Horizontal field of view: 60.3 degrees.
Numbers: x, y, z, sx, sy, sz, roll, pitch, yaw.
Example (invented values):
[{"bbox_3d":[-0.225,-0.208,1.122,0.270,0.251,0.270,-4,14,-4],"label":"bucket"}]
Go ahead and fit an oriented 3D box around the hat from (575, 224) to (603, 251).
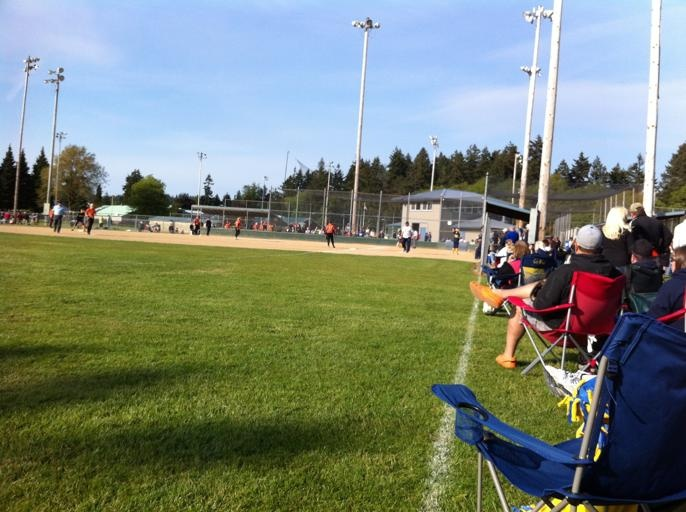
[{"bbox_3d":[2.350,-0.168,5.659,0.180,0.152,0.292,6,46,16],"label":"hat"}]
